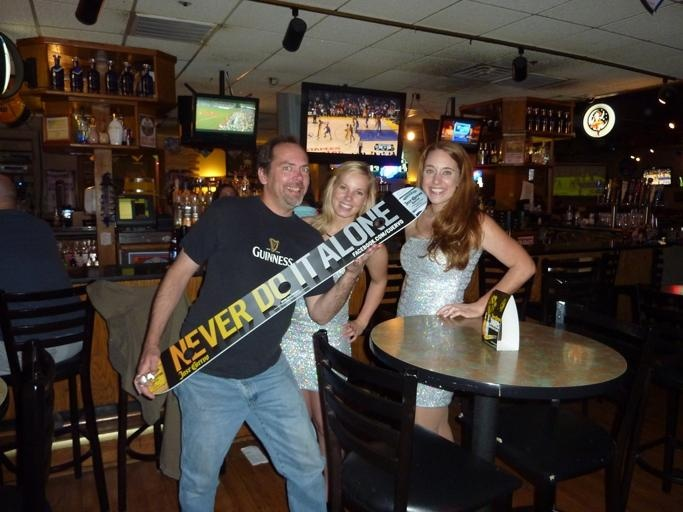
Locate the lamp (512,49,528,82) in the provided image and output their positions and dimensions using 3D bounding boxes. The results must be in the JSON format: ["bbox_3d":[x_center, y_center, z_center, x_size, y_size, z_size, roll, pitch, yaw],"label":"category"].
[{"bbox_3d":[2.050,-2.209,5.916,0.140,0.370,0.437,3,8,16],"label":"lamp"}]

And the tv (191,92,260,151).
[{"bbox_3d":[-1.577,-1.755,7.034,1.111,0.952,0.585,1,11,-20],"label":"tv"}]

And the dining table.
[{"bbox_3d":[0.714,0.459,2.289,0.745,0.513,0.739,1,9,10],"label":"dining table"}]

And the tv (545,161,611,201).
[{"bbox_3d":[6.435,-2.094,13.994,2.036,1.331,0.273,-1,4,-1],"label":"tv"}]

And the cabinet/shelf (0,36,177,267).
[{"bbox_3d":[-2.482,-1.108,5.577,1.500,2.175,0.687,-11,16,-22],"label":"cabinet/shelf"}]

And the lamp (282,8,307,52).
[{"bbox_3d":[-0.460,-2.207,4.970,0.196,0.344,0.397,0,8,-9],"label":"lamp"}]
